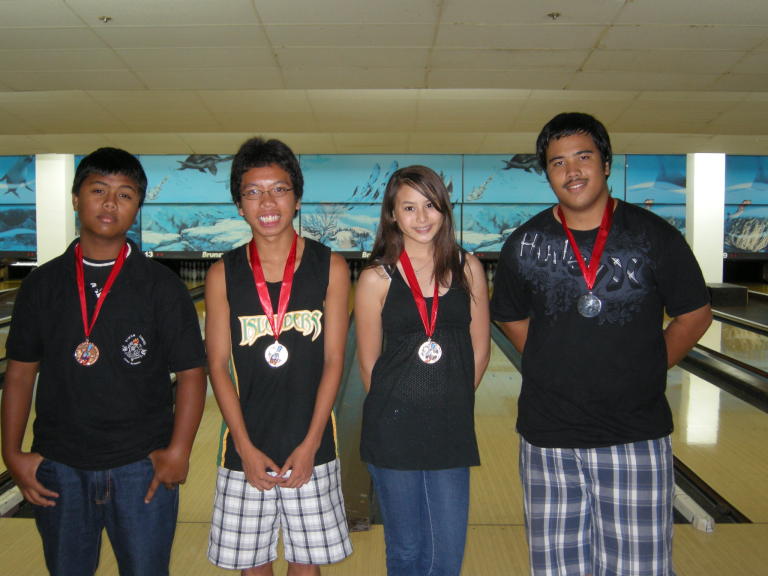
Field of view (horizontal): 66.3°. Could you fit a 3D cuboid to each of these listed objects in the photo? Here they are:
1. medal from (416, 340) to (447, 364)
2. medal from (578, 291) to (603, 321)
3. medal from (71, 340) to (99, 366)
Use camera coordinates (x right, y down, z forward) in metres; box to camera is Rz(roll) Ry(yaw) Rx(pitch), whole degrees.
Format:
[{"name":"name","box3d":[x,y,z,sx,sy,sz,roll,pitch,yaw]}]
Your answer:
[{"name":"medal","box3d":[0.146,0.202,1.863,0.077,0.073,0.028,1,8,11]},{"name":"medal","box3d":[0.619,0.051,1.764,0.068,0.077,0.027,2,8,17]},{"name":"medal","box3d":[-0.867,0.190,1.715,0.073,0.071,0.026,1,8,14]}]
